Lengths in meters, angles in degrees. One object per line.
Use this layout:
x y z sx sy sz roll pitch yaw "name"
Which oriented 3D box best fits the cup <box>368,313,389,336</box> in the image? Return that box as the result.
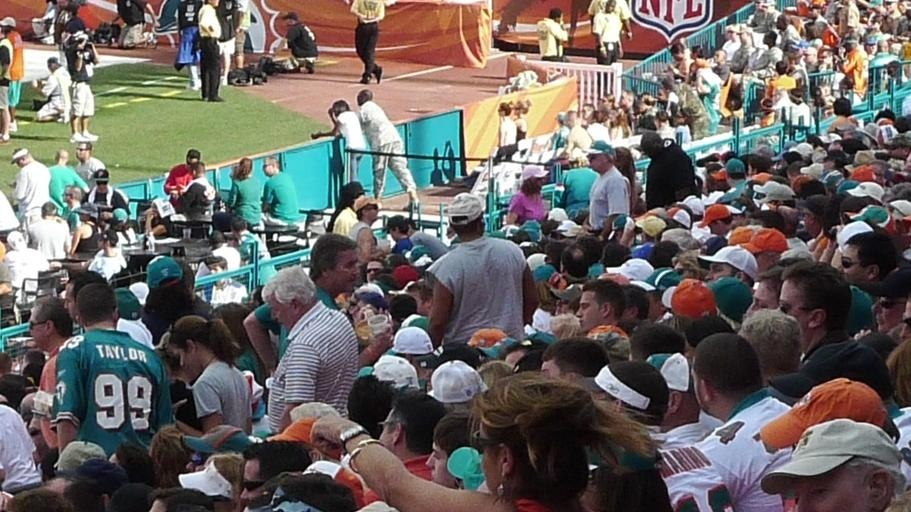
-1.206 1.063 23.882 0.285 0.213 0.296 -4 18 1 "cup"
